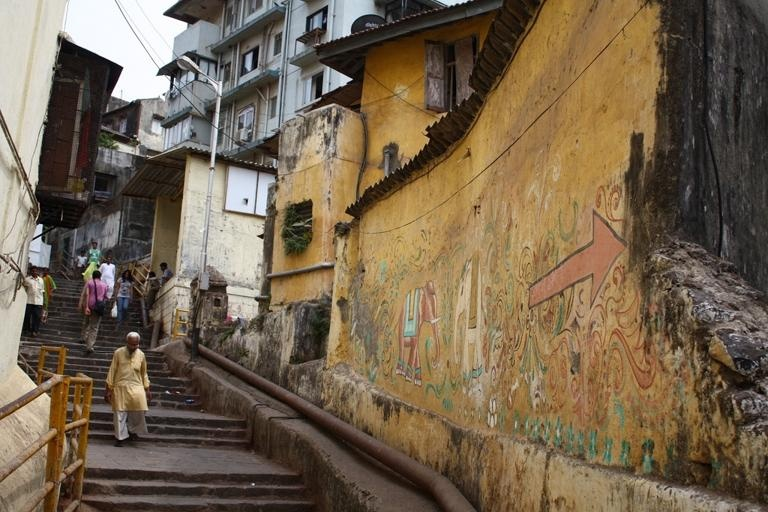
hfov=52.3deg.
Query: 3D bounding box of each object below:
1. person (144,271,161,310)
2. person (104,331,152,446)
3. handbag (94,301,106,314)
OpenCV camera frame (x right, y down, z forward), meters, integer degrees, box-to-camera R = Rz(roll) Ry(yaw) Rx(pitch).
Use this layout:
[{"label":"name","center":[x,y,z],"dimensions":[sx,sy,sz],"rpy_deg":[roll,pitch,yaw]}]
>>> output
[{"label":"person","center":[-7.320,1.117,24.850],"dimensions":[0.442,1.132,1.222],"rpy_deg":[7,-8,-17]},{"label":"person","center":[-3.902,2.014,12.067],"dimensions":[0.674,1.691,0.598],"rpy_deg":[7,-8,-18]},{"label":"handbag","center":[-6.124,1.097,16.974],"dimensions":[0.169,0.357,0.285],"rpy_deg":[-11,-11,16]}]
